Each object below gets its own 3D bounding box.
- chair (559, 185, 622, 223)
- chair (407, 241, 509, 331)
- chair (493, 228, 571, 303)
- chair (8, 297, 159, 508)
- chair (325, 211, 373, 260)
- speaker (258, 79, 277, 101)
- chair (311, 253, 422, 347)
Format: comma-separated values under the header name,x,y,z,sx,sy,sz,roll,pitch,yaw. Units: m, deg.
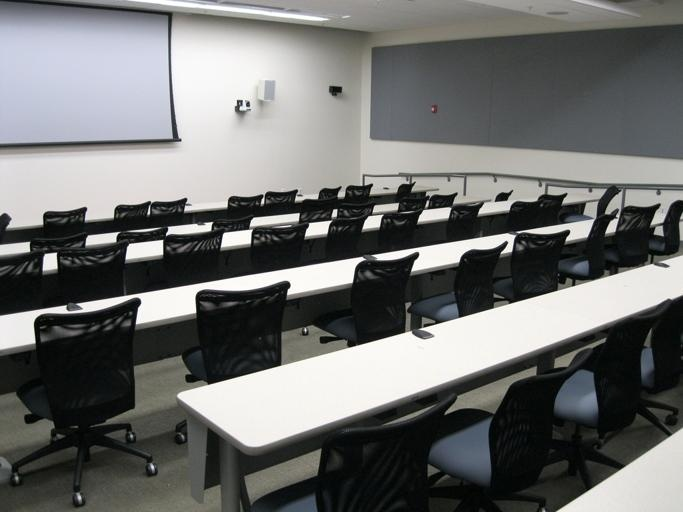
name,x,y,z,sx,sy,sz,roll,pitch,yaw
chair,3.594,-0.602,7.183,0.635,0.842,0.590,9,16,17
chair,0.954,0.302,4.149,0.601,1.016,0.705,-14,21,-31
chair,1.698,0.144,4.619,0.576,0.895,0.656,-5,17,-1
chair,-1.525,0.895,2.929,0.743,0.976,0.740,30,29,37
chair,0.053,-0.306,5.502,0.402,0.669,0.479,-12,33,-27
speaker,-1.743,-3.863,11.547,0.275,0.531,0.505,13,1,29
chair,0.176,0.414,3.847,0.691,0.974,0.676,-6,18,-19
